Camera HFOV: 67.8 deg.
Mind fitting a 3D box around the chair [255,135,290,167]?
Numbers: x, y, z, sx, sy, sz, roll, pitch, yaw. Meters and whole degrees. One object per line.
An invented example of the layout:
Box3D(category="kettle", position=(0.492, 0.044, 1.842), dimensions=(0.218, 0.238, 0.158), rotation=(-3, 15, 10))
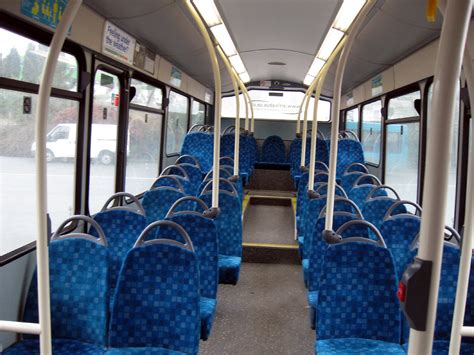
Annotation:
Box3D(category="chair", position=(0.928, -0.683, 9.401), dimensions=(0.889, 0.929, 0.770), rotation=(1, 0, 4))
